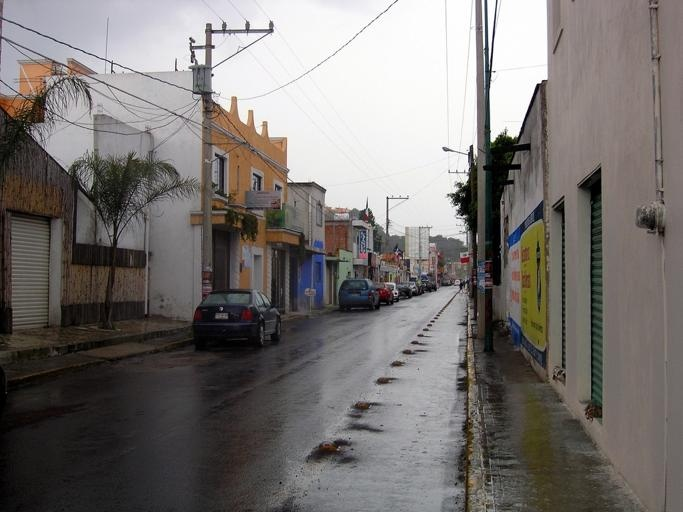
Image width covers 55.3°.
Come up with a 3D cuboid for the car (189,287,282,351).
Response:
[{"bbox_3d":[-2.659,1.703,18.185,1.058,1.113,2.725,0,-2,10],"label":"car"}]
